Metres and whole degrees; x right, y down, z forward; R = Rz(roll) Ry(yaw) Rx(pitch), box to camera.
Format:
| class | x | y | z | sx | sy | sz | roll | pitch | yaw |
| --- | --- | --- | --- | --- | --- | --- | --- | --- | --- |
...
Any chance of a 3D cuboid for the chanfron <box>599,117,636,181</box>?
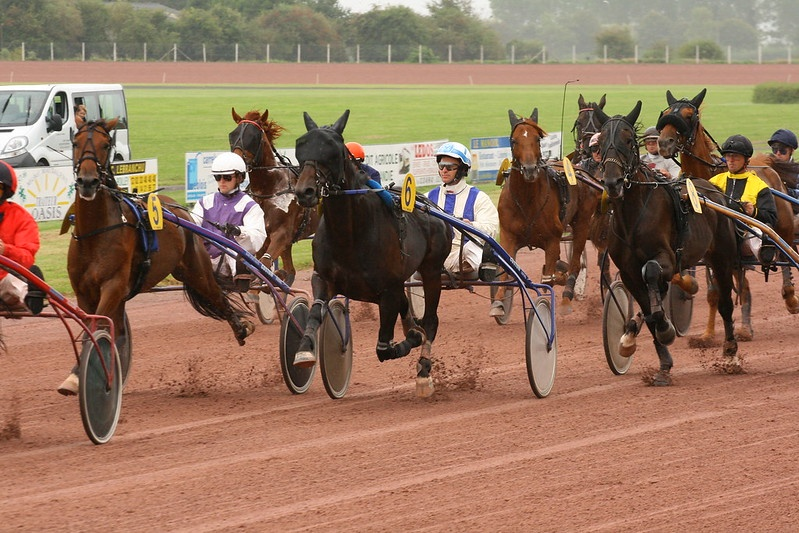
| class | x | y | z | sx | sy | sz | roll | pitch | yaw |
| --- | --- | --- | --- | --- | --- | --- | --- | --- | --- |
| chanfron | 1.826 | -0.975 | 8.033 | 0.306 | 0.506 | 0.357 | 2 | 14 | 10 |

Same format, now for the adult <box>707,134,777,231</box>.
| class | x | y | z | sx | sy | sz | roll | pitch | yaw |
| --- | --- | --- | --- | --- | --- | --- | --- | --- | --- |
| adult | 3.258 | -0.880 | 9.743 | 0.726 | 0.895 | 0.978 | 5 | 13 | 35 |

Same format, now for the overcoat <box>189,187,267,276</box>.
| class | x | y | z | sx | sy | sz | roll | pitch | yaw |
| --- | --- | --- | --- | --- | --- | --- | --- | --- | --- |
| overcoat | -1.577 | -0.354 | 9.292 | 0.752 | 0.790 | 0.330 | 4 | -11 | 5 |

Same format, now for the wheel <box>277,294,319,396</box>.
| class | x | y | z | sx | sy | sz | roll | pitch | yaw |
| --- | --- | --- | --- | --- | --- | --- | --- | --- | --- |
| wheel | -0.829 | 0.696 | 8.198 | 0.170 | 0.666 | 0.678 | -1 | 32 | 16 |

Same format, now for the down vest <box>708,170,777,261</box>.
| class | x | y | z | sx | sy | sz | roll | pitch | yaw |
| --- | --- | --- | --- | --- | --- | --- | --- | --- | --- |
| down vest | 3.319 | -0.480 | 9.384 | 0.542 | 0.854 | 0.271 | -8 | -6 | -36 |

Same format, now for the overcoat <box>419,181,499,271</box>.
| class | x | y | z | sx | sy | sz | roll | pitch | yaw |
| --- | --- | --- | --- | --- | --- | --- | --- | --- | --- |
| overcoat | 0.570 | -0.349 | 9.120 | 0.856 | 0.943 | 0.597 | -2 | 24 | 14 |

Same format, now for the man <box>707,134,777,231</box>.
| class | x | y | z | sx | sy | sz | roll | pitch | yaw |
| --- | --- | --- | --- | --- | --- | --- | --- | --- | --- |
| man | 3.419 | -0.849 | 9.567 | 0.726 | 0.895 | 0.978 | 5 | 13 | 35 |

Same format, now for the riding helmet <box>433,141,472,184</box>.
| class | x | y | z | sx | sy | sz | roll | pitch | yaw |
| --- | --- | --- | --- | --- | --- | --- | --- | --- | --- |
| riding helmet | 0.488 | -1.022 | 9.304 | 0.323 | 0.356 | 0.406 | 9 | 10 | 28 |

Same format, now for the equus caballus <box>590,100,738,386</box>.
| class | x | y | z | sx | sy | sz | roll | pitch | yaw |
| --- | --- | --- | --- | --- | --- | --- | --- | --- | --- |
| equus caballus | 2.420 | -0.230 | 8.639 | 0.873 | 2.465 | 1.720 | 10 | 18 | 36 |

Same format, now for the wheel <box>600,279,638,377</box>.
| class | x | y | z | sx | sy | sz | roll | pitch | yaw |
| --- | --- | --- | --- | --- | --- | --- | --- | --- | --- |
| wheel | 2.009 | 0.582 | 8.787 | 0.095 | 0.690 | 0.718 | -2 | 23 | 24 |

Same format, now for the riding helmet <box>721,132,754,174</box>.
| class | x | y | z | sx | sy | sz | roll | pitch | yaw |
| --- | --- | --- | --- | --- | --- | --- | --- | --- | --- |
| riding helmet | 3.359 | -1.108 | 9.625 | 0.338 | 0.394 | 0.421 | 0 | 0 | 17 |

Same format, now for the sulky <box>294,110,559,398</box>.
| class | x | y | z | sx | sy | sz | roll | pitch | yaw |
| --- | --- | --- | --- | --- | --- | --- | --- | --- | --- |
| sulky | 0.084 | -0.032 | 8.443 | 1.672 | 1.787 | 3.036 | -3 | -12 | 28 |
